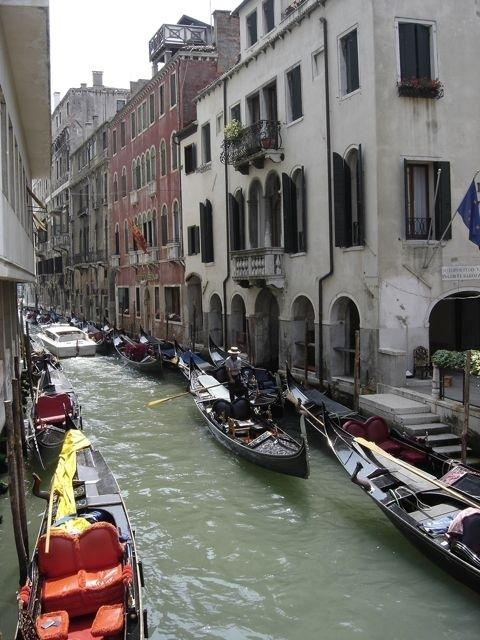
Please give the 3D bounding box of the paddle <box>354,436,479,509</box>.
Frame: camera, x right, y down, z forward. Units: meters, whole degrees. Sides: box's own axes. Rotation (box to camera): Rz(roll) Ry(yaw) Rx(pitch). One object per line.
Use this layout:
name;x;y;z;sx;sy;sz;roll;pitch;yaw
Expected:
paddle;2.871;2.398;9.716;0.118;0.309;2.356;-30;33;-16

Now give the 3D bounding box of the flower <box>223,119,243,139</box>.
flower;-0.197;-5.822;19.789;0.233;0.521;0.885;-10;7;-30

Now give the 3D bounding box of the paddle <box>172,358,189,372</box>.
paddle;-2.207;1.704;22.686;0.124;0.392;0.991;20;5;-22

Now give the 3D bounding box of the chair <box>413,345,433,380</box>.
chair;4.620;1.077;15.071;0.515;1.241;0.597;-1;-4;11
